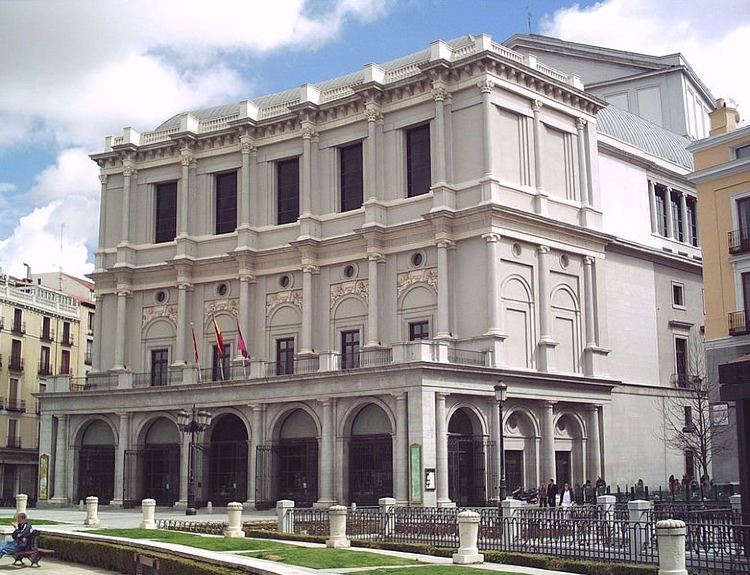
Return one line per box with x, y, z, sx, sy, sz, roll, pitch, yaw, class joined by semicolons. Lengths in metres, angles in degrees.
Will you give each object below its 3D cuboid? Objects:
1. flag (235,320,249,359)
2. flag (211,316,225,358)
-8.337;3.212;57.131;0.697;2.918;2.501;2;-17;-9;flag
-9.951;2.874;57.705;0.832;3.318;3.985;2;-17;-10;flag
